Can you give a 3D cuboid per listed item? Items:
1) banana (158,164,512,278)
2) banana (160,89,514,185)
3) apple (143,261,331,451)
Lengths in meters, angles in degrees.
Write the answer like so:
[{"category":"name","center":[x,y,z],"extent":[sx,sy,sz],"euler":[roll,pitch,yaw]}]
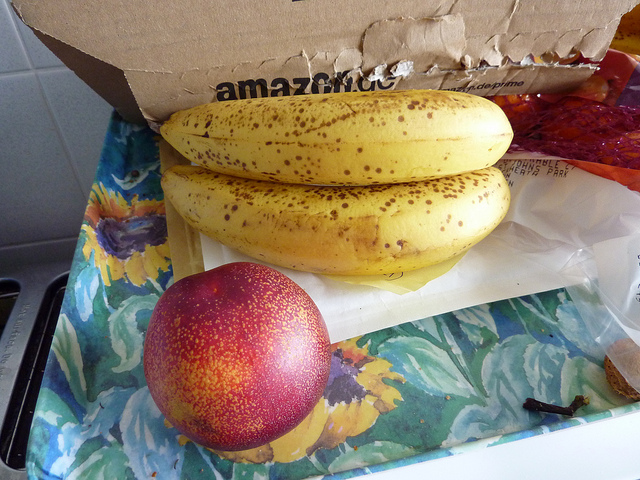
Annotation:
[{"category":"banana","center":[0.033,-0.027,0.769],"extent":[0.515,0.175,0.189],"euler":[3,59,6]},{"category":"banana","center":[0.014,-0.138,0.729],"extent":[0.488,0.150,0.133],"euler":[0,30,8]},{"category":"apple","center":[-0.107,0.140,0.675],"extent":[0.253,0.217,0.246],"euler":[6,7,37]}]
